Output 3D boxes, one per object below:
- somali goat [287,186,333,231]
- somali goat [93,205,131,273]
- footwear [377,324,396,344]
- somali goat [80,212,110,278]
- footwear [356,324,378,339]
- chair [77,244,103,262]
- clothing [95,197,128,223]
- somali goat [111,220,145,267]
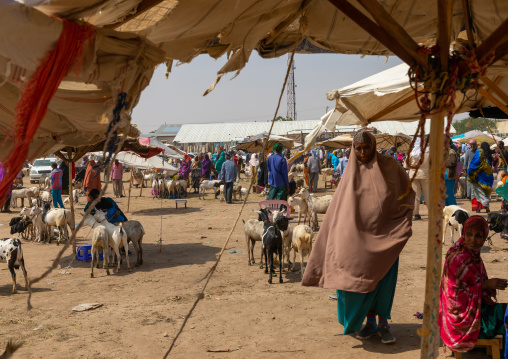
[{"bbox_3d":[2.142,0.840,12.725,0.699,1.322,2.220,3,-3,-42],"label":"somali goat"},{"bbox_3d":[-3.193,1.303,9.257,0.408,1.286,1.673,-3,2,-37],"label":"somali goat"},{"bbox_3d":[1.730,2.020,5.399,0.137,0.129,0.317,-3,-6,-8],"label":"footwear"},{"bbox_3d":[-3.351,1.451,9.177,0.543,1.163,1.617,2,-1,-14],"label":"somali goat"},{"bbox_3d":[1.502,2.031,5.530,0.356,0.166,0.129,3,-5,-31],"label":"footwear"},{"bbox_3d":[-3.986,1.775,10.044,0.462,0.351,0.455,-2,3,-33],"label":"chair"},{"bbox_3d":[-3.611,0.801,10.590,0.340,0.815,0.429,-40,-5,-40],"label":"clothing"},{"bbox_3d":[-2.932,1.357,9.562,1.398,1.093,0.348,-6,-5,43],"label":"somali goat"}]
